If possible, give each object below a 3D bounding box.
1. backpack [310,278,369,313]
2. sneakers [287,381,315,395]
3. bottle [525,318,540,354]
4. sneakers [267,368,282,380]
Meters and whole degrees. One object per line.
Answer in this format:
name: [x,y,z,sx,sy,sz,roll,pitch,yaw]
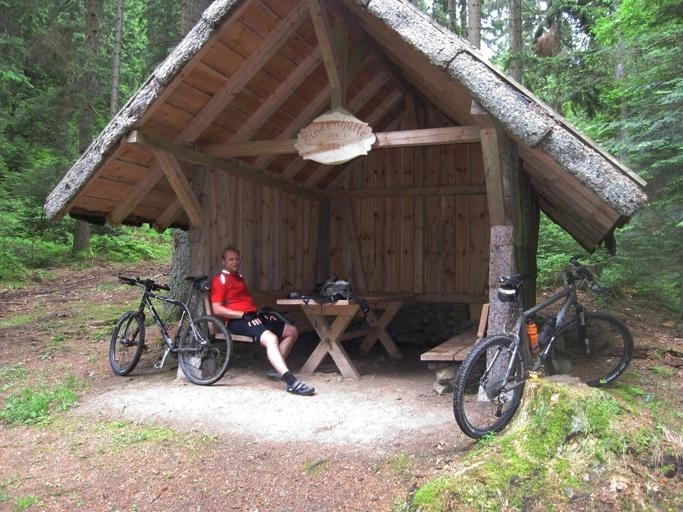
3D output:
backpack: [-0.068,0.525,7.806,0.563,0.341,0.660,5,1,6]
sneakers: [-0.526,1.684,6.879,0.366,0.149,0.147,-4,-6,27]
bottle: [2.157,0.898,6.064,0.153,0.352,0.217,7,-4,-12]
sneakers: [-0.942,1.647,7.484,0.192,0.104,0.414,7,-4,-7]
